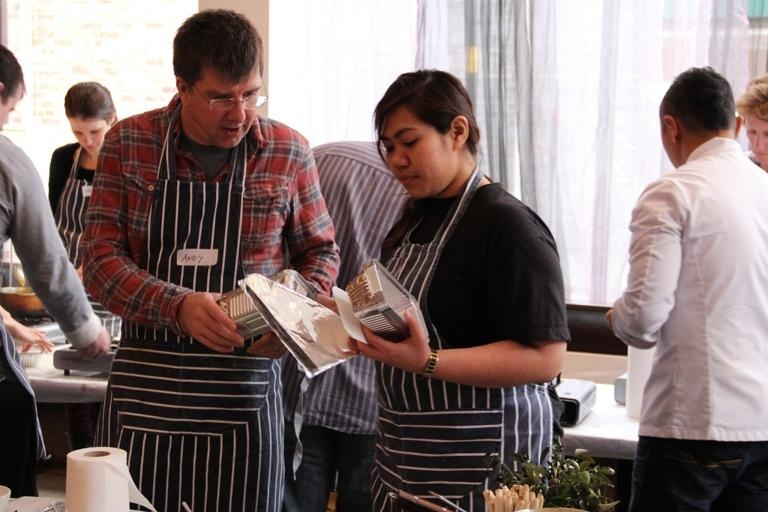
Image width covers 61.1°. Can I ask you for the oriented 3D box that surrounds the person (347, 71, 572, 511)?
[{"bbox_3d":[0.240,0.140,1.946,0.609,1.436,0.623,1,3,9],"label":"person"}]

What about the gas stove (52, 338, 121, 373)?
[{"bbox_3d":[-1.375,0.489,3.012,0.301,0.139,0.281,3,3,17],"label":"gas stove"}]

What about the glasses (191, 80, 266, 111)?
[{"bbox_3d":[-0.488,-0.511,2.149,0.252,0.083,0.101,-1,3,-38],"label":"glasses"}]

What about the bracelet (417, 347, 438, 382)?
[{"bbox_3d":[0.131,0.304,1.805,0.047,0.076,0.074,23,-1,4],"label":"bracelet"}]
